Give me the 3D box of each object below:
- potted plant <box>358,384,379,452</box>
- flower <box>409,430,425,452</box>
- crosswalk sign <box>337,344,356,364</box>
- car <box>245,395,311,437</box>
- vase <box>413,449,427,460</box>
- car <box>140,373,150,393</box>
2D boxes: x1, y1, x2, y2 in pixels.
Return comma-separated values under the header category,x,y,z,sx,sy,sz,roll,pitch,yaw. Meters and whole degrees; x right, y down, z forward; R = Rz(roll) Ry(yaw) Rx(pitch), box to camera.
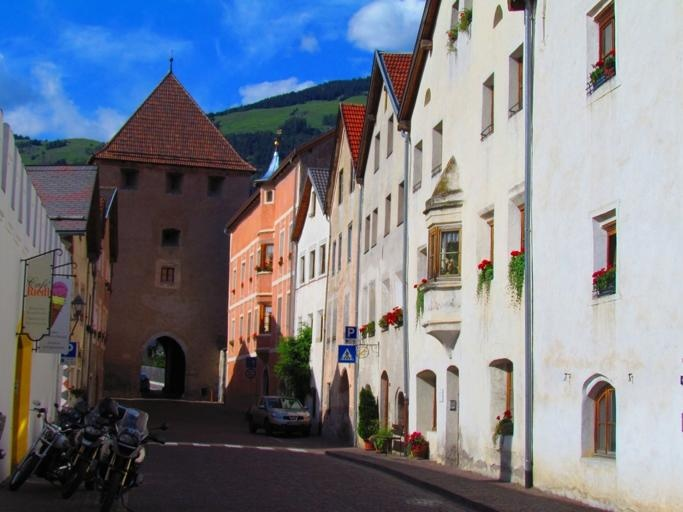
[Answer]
category,x,y,z,sx,sy,sz,roll,pitch,yaw
potted plant,0.957,5.604,29.827,0.730,2.182,1.400,1,-12,1
flower,2.234,5.494,25.138,0.388,0.502,0.418,5,7,34
crosswalk sign,0.085,3.675,31.789,0.663,0.784,0.174,2,-2,-32
car,-2.800,6.972,37.120,1.740,1.625,2.961,13,-18,-41
vase,2.342,5.819,24.888,0.285,0.244,0.305,-6,-13,31
car,-15.958,10.361,68.517,0.961,0.940,2.430,0,-11,-11
